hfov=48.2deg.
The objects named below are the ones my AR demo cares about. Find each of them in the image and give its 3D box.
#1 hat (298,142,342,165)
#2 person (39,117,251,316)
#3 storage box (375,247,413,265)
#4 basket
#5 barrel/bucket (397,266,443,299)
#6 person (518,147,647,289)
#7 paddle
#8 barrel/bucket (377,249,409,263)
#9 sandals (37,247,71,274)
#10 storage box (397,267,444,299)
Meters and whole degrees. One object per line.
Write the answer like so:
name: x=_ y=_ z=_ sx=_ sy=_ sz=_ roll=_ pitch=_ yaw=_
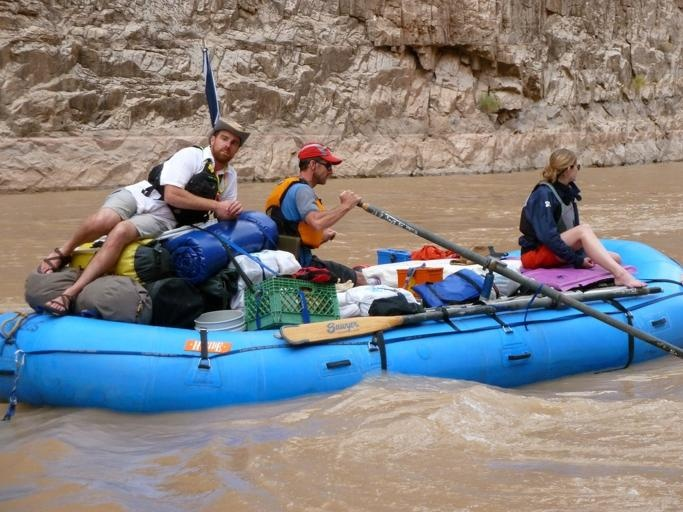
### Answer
hat: x=-0.207 y=-0.937 z=6.619 sx=0.483 sy=0.193 sz=0.275 roll=-1 pitch=1 yaw=-4
person: x=-1.635 y=-0.421 z=6.123 sx=1.861 sy=1.135 sz=0.736 roll=-15 pitch=36 yaw=-22
storage box: x=0.548 y=-0.004 z=7.705 sx=0.265 sy=0.148 sz=0.183 roll=2 pitch=5 yaw=23
basket: x=-0.381 y=0.460 z=5.754 sx=0.655 sy=0.283 sz=0.461 roll=7 pitch=-18 yaw=-33
barrel/bucket: x=0.686 y=0.237 z=6.651 sx=0.311 sy=0.171 sz=0.312 roll=-2 pitch=1 yaw=0
person: x=2.171 y=-0.351 z=6.600 sx=0.793 sy=1.037 sz=1.457 roll=-9 pitch=16 yaw=-22
paddle: x=0.952 y=0.481 z=6.007 sx=2.676 sy=0.287 sz=0.166 roll=-5 pitch=48 yaw=-14
barrel/bucket: x=0.547 y=-0.003 z=7.684 sx=0.233 sy=0.121 sz=0.166 roll=2 pitch=5 yaw=26
sandals: x=-2.198 y=0.018 z=5.979 sx=0.120 sy=0.129 sz=0.347 roll=37 pitch=28 yaw=11
storage box: x=0.672 y=0.236 z=6.647 sx=0.302 sy=0.167 sz=0.305 roll=-2 pitch=1 yaw=39
